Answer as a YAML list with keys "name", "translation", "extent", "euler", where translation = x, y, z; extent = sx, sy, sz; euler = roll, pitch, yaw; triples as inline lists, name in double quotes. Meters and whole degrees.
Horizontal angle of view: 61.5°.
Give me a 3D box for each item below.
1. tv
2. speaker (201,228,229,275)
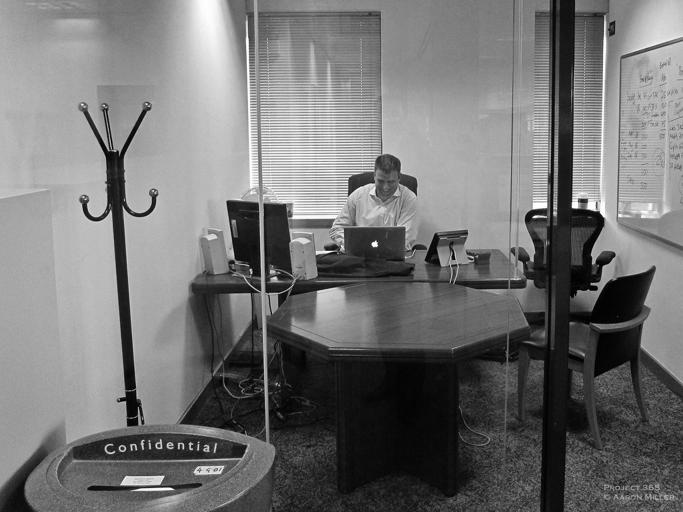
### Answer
- name: "tv"
  translation: [-0.217, -0.046, 1.516]
  extent: [0.242, 0.196, 0.064]
  euler: [8, 21, 40]
- name: "speaker"
  translation: [-0.407, -0.019, 1.829]
  extent: [0.043, 0.138, 0.128]
  euler: [-16, 16, -32]
